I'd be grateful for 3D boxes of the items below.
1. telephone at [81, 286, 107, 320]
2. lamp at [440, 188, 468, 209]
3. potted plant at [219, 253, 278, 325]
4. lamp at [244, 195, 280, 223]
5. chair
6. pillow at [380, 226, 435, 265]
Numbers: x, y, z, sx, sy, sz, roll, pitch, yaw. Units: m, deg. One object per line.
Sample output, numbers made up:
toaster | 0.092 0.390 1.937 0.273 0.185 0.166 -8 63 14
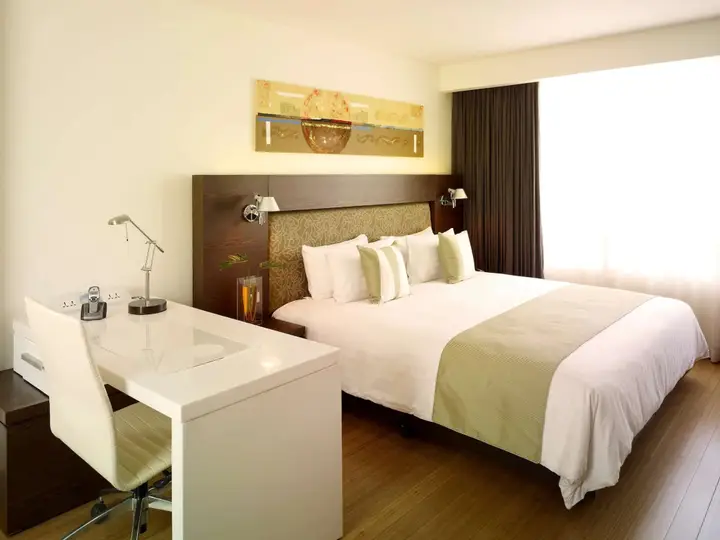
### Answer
telephone | -1.585 0.178 2.835 0.112 0.201 0.169 3 31 -32
lamp | 1.063 -0.812 5.473 0.196 0.261 0.317 -6 9 -42
potted plant | -0.801 0.190 3.714 0.406 0.597 0.542 -1 -1 32
lamp | -0.755 -0.432 3.622 0.184 0.174 0.239 0 0 -38
chair | -1.094 0.489 2.093 0.598 0.735 0.447 13 18 43
pillow | 0.390 -0.187 4.602 0.472 0.382 0.130 -4 -2 -37
